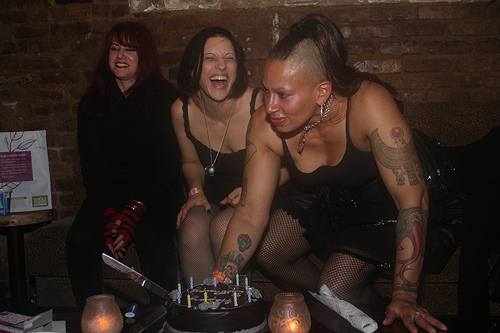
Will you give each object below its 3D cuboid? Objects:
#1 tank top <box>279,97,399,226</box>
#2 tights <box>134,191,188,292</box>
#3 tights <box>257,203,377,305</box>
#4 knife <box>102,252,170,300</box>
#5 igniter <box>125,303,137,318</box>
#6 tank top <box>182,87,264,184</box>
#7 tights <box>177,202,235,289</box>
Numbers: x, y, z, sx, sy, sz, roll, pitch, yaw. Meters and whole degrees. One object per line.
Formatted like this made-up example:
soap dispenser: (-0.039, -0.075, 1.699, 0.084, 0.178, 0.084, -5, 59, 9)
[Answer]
tank top: (0.494, -0.040, 2.454, 0.610, 0.694, 0.174, 2, 17, 19)
tights: (-0.560, 0.451, 2.912, 0.291, 0.605, 0.298, 8, 13, 22)
tights: (0.357, 0.525, 2.517, 0.511, 0.522, 0.494, -1, 13, 1)
knife: (-0.494, 0.471, 1.978, 0.253, 0.281, 0.194, -7, 16, -12)
igniter: (-0.526, 0.651, 2.034, 0.055, 0.045, 0.079, -5, 35, -5)
tank top: (-0.161, -0.216, 2.869, 0.565, 0.726, 0.366, -1, 5, 0)
tights: (-0.238, 0.430, 2.634, 0.265, 0.514, 0.184, -6, -23, 40)
